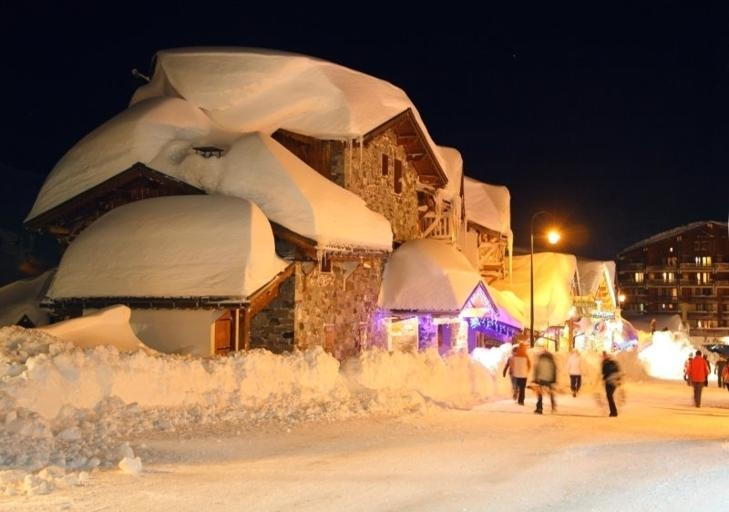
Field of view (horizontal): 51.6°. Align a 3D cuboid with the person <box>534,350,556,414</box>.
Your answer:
[{"bbox_3d":[4.872,3.334,20.109,0.581,1.896,0.552,5,-36,7],"label":"person"}]

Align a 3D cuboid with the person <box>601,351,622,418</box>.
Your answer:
[{"bbox_3d":[6.354,3.299,19.461,0.494,1.658,1.265,3,0,18],"label":"person"}]

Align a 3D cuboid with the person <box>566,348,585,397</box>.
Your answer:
[{"bbox_3d":[6.656,3.647,23.926,0.446,1.566,2.390,3,0,15],"label":"person"}]
